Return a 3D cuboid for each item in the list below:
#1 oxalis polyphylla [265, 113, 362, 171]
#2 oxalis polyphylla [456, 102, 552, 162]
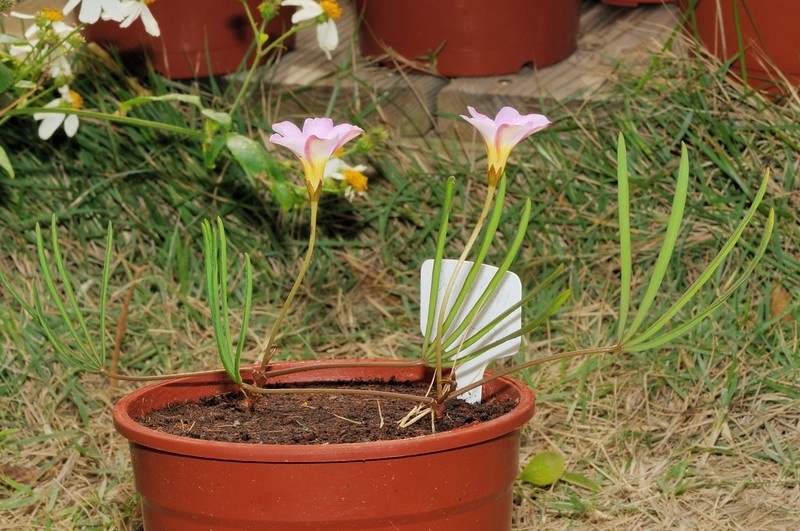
[{"bbox_3d":[-0.122,-0.161,1.237,0.122,0.078,0.142,-3,0,-9],"label":"oxalis polyphylla"},{"bbox_3d":[0.144,-0.169,1.225,0.088,0.083,0.123,-7,-15,41],"label":"oxalis polyphylla"}]
